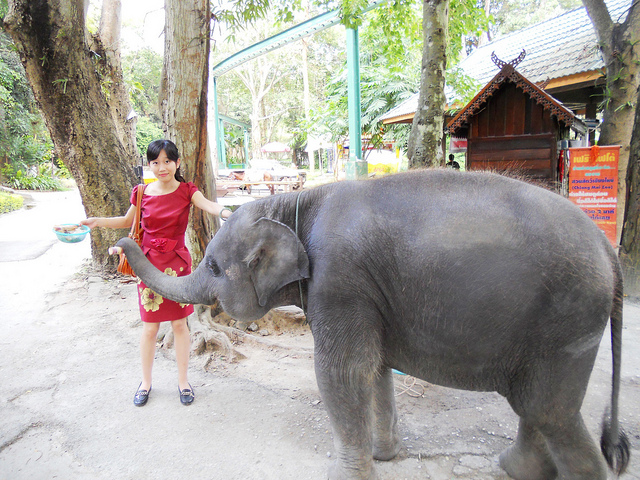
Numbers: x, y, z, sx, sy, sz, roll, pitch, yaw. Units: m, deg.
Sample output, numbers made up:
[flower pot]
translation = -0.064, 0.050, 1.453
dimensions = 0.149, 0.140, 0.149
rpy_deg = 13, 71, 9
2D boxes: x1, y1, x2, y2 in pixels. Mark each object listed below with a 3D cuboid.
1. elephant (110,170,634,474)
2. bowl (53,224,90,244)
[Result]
[elephant]
translation = 0.646, 0.566, 3.111
dimensions = 2.758, 2.042, 0.834
rpy_deg = 3, 11, 20
[bowl]
translation = -2.107, -0.030, 3.930
dimensions = 0.198, 0.089, 0.213
rpy_deg = 8, 20, -3
